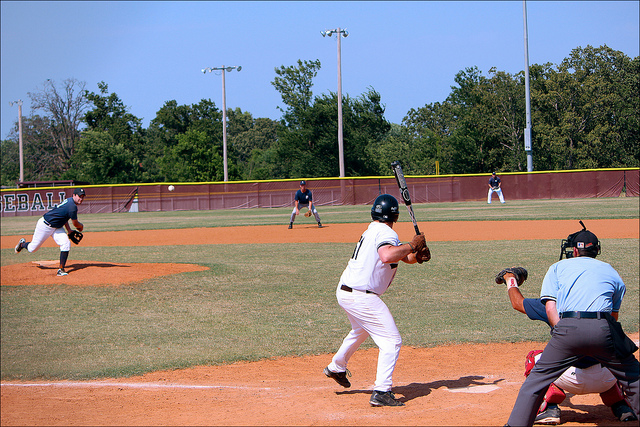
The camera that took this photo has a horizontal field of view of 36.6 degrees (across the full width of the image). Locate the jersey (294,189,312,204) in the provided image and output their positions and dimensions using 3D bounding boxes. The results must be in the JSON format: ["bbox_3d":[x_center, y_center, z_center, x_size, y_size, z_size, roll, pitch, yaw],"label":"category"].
[{"bbox_3d":[-0.771,-0.762,44.019,1.139,0.818,0.571,0,2,-7],"label":"jersey"}]

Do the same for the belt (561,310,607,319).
[{"bbox_3d":[7.158,2.747,26.212,1.158,0.195,0.072,-1,-1,5],"label":"belt"}]

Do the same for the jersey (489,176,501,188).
[{"bbox_3d":[10.183,-1.844,55.695,1.000,0.764,0.509,0,1,-8],"label":"jersey"}]

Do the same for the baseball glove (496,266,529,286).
[{"bbox_3d":[5.391,1.736,27.128,0.836,0.353,0.448,3,-1,-1],"label":"baseball glove"}]

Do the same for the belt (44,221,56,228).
[{"bbox_3d":[-9.417,0.381,33.573,0.331,0.221,0.075,-1,-1,-16],"label":"belt"}]
